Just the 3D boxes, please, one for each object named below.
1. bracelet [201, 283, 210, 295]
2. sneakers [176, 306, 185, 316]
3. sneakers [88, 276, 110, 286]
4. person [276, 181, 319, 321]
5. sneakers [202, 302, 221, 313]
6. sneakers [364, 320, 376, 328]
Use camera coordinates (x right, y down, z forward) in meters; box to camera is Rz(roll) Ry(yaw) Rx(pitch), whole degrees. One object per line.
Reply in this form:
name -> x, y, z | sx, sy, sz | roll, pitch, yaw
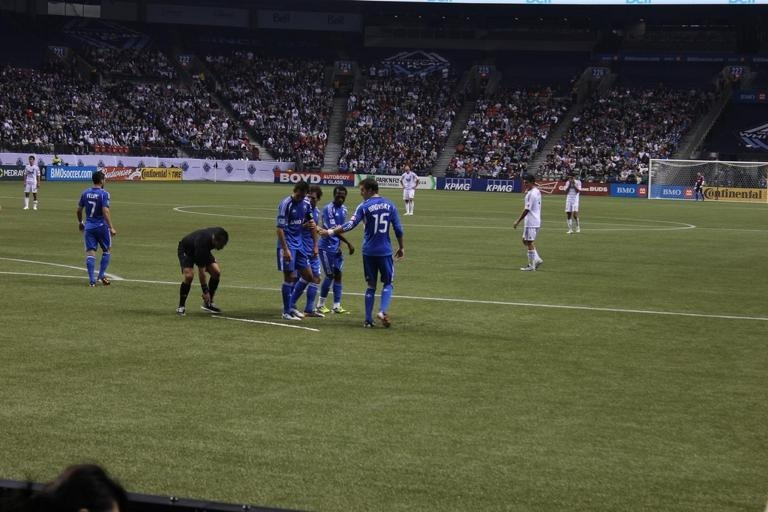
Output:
bracelet -> -3.641, 0.630, 16.906 | 0.218, 0.179, 0.161 | -2, 8, 25
sneakers -> -4.059, 1.053, 16.710 | 0.124, 0.136, 0.217 | 2, 9, -7
sneakers -> -6.598, 0.583, 19.390 | 0.538, 0.207, 0.186 | 2, -2, 16
person -> -1.787, -0.134, 16.789 | 0.680, 2.702, 0.977 | 7, 15, 20
sneakers -> -3.489, 1.036, 17.002 | 0.462, 0.183, 0.150 | 15, 14, 3
sneakers -> -0.299, 1.303, 16.362 | 0.145, 0.152, 0.394 | -1, -5, 6
